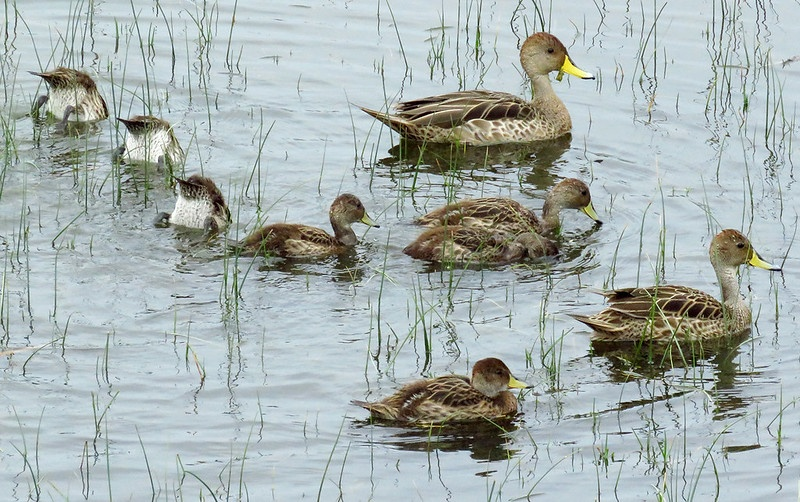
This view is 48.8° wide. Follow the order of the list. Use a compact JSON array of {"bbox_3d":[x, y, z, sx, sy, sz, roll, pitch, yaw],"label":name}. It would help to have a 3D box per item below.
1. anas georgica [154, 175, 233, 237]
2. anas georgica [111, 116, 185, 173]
[{"bbox_3d":[-3.056,-0.703,13.135,1.107,0.825,0.696,2,-2,3],"label":"anas georgica"},{"bbox_3d":[-4.125,-1.788,14.629,1.139,0.915,0.917,2,-2,-5],"label":"anas georgica"}]
